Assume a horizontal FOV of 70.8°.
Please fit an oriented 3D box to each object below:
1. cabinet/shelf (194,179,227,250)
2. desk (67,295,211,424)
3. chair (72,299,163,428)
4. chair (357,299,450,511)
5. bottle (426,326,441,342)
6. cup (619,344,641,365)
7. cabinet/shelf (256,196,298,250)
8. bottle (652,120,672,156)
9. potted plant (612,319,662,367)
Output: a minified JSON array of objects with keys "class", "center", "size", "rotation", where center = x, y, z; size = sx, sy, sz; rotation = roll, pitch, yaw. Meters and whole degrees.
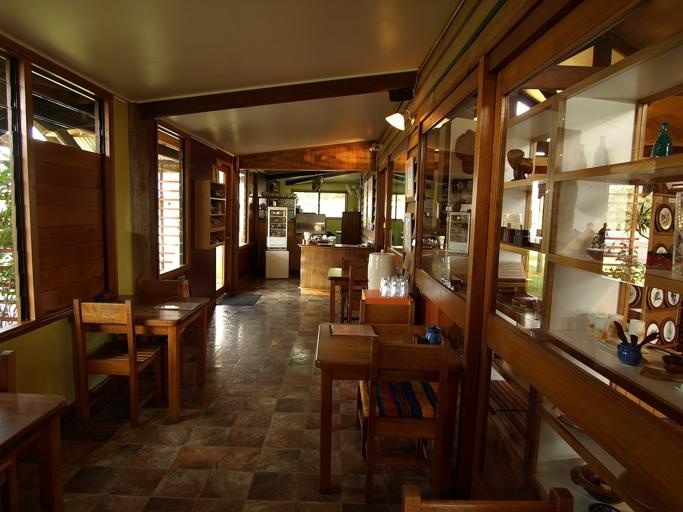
[{"class":"cabinet/shelf","center":[-1.843,-0.578,6.812],"size":[0.219,0.930,0.988],"rotation":[1,5,-1]},{"class":"desk","center":[-1.710,0.802,4.182],"size":[0.943,0.905,1.405],"rotation":[1,0,3]},{"class":"chair","center":[-1.763,0.734,3.789],"size":[0.557,0.971,0.498],"rotation":[2,11,5]},{"class":"chair","center":[0.381,0.912,3.150],"size":[0.538,1.062,0.711],"rotation":[2,11,3]},{"class":"bottle","center":[0.607,0.533,3.270],"size":[0.089,0.130,0.088],"rotation":[0,-5,0]},{"class":"cup","center":[1.154,0.399,1.932],"size":[0.070,0.069,0.085],"rotation":[-1,1,17]},{"class":"cabinet/shelf","center":[-1.489,-0.772,10.937],"size":[0.847,1.165,2.405],"rotation":[0,12,-8]},{"class":"bottle","center":[1.200,-0.436,1.794],"size":[0.024,0.130,0.073],"rotation":[-2,12,-17]},{"class":"potted plant","center":[1.171,0.373,1.976],"size":[0.164,0.150,0.185],"rotation":[7,-13,15]}]
